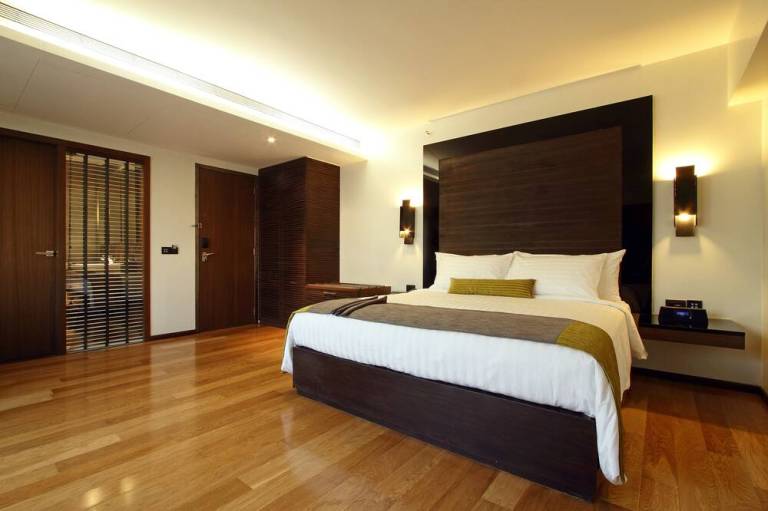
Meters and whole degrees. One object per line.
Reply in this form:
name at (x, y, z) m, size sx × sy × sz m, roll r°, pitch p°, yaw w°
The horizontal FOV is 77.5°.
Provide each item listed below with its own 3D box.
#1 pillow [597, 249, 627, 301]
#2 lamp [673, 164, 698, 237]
pillow at (2.465, 0.242, 5.209) m, size 0.187 × 0.531 × 0.522 m, roll 7°, pitch -8°, yaw -33°
lamp at (3.230, -0.573, 5.140) m, size 0.224 × 0.746 × 0.090 m, roll 0°, pitch 3°, yaw 22°
